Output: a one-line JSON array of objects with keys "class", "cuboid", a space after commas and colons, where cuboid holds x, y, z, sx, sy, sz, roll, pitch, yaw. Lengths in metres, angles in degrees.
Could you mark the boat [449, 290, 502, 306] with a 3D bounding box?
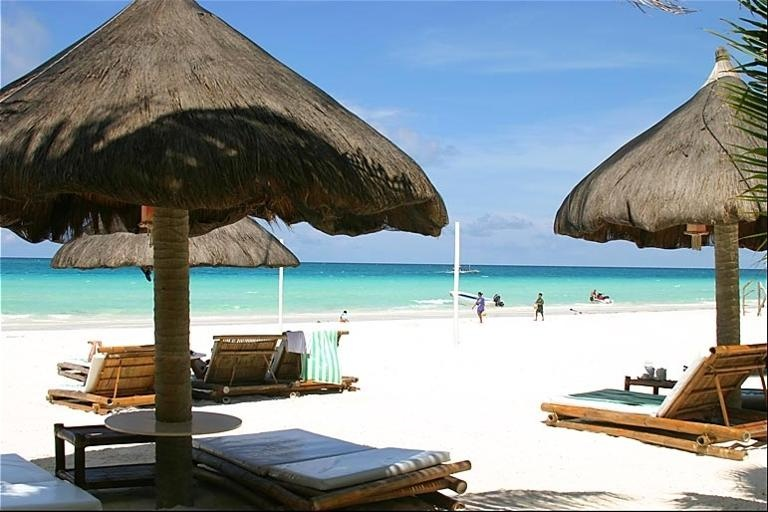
[{"class": "boat", "cuboid": [6.135, 2.776, 52.217, 3.383, 1.064, 1.444, 12, -3, 3]}]
